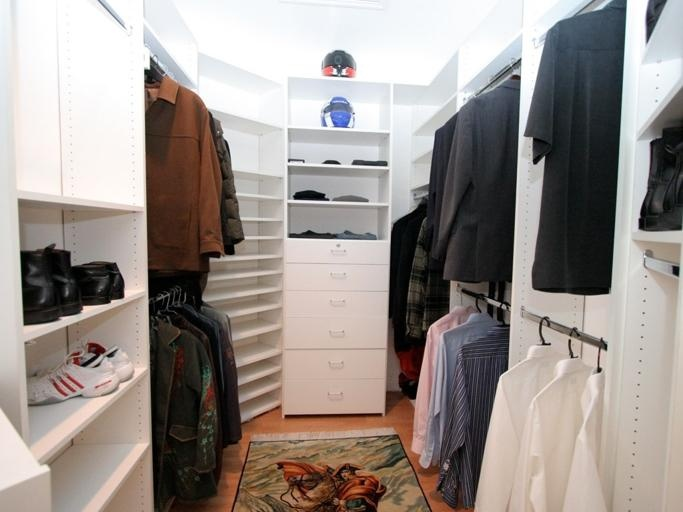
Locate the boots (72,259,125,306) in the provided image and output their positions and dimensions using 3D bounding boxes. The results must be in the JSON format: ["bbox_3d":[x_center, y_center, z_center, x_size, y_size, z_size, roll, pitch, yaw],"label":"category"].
[{"bbox_3d":[-0.873,0.101,1.866,0.178,0.122,0.111,-3,8,-39],"label":"boots"}]

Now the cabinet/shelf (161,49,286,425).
[{"bbox_3d":[-0.691,0.288,3.247,0.652,1.534,0.410,-7,-7,8],"label":"cabinet/shelf"}]

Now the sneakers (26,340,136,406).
[{"bbox_3d":[-0.969,0.441,1.935,0.291,0.143,0.173,2,2,-22],"label":"sneakers"}]

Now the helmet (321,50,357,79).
[{"bbox_3d":[-0.017,-1.177,3.171,0.156,0.214,0.182,1,14,2],"label":"helmet"}]

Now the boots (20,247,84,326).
[{"bbox_3d":[-0.982,0.097,1.669,0.122,0.241,0.325,-4,6,-35],"label":"boots"}]

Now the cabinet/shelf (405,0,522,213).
[{"bbox_3d":[0.623,-0.785,3.056,0.532,1.194,1.394,0,15,-5],"label":"cabinet/shelf"}]

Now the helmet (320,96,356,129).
[{"bbox_3d":[-0.033,-0.903,3.314,0.206,0.239,0.282,2,-3,-14],"label":"helmet"}]

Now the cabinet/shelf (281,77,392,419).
[{"bbox_3d":[-0.012,-0.064,3.376,0.710,2.093,0.867,1,14,-1],"label":"cabinet/shelf"}]

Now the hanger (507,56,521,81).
[{"bbox_3d":[0.801,-0.868,2.385,0.037,0.120,0.087,2,4,-13],"label":"hanger"}]
